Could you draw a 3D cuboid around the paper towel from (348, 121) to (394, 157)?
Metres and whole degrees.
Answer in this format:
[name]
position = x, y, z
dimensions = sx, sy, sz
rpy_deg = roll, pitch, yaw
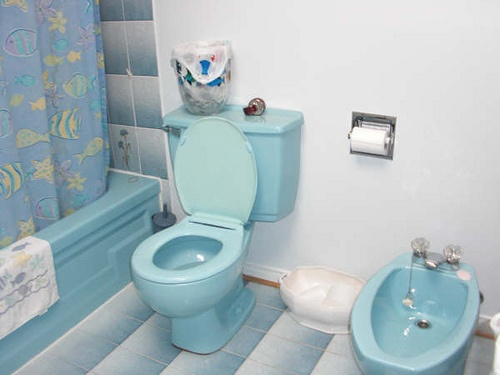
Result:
[paper towel]
position = 0.527, -0.204, 1.674
dimensions = 0.177, 0.139, 0.113
rpy_deg = 13, 26, 24

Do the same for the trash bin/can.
[trash bin/can]
position = -0.168, -0.571, 1.908
dimensions = 0.286, 0.350, 0.344
rpy_deg = 4, 32, 8
